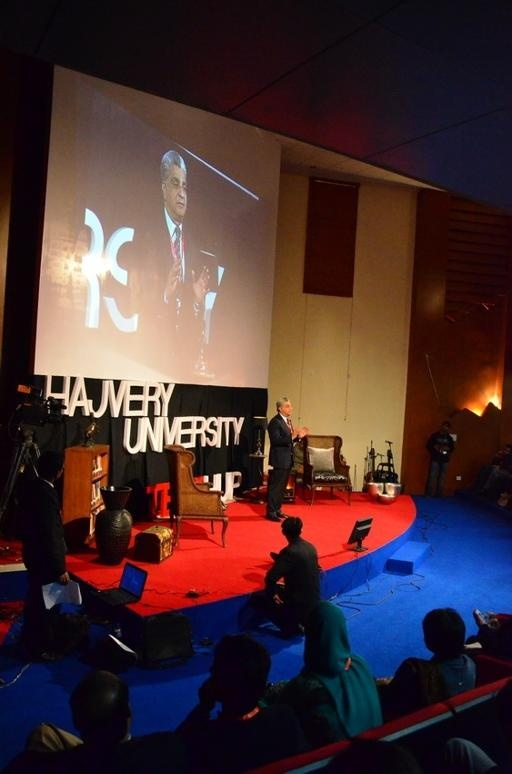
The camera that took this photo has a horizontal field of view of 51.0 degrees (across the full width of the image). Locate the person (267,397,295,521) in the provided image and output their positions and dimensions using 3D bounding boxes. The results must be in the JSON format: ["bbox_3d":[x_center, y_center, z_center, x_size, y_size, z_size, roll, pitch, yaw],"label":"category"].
[{"bbox_3d":[0.317,1.016,7.389,0.453,1.655,0.516,-2,-2,0],"label":"person"}]

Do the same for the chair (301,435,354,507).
[{"bbox_3d":[1.198,1.373,9.247,0.718,1.202,0.915,0,-13,5],"label":"chair"}]

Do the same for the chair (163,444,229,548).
[{"bbox_3d":[-0.718,1.256,6.402,0.761,1.161,0.771,3,1,2],"label":"chair"}]

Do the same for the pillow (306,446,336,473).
[{"bbox_3d":[1.180,1.274,9.275,0.583,0.434,0.293,-2,-2,-35],"label":"pillow"}]

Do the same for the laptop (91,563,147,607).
[{"bbox_3d":[-1.088,1.540,4.214,0.187,0.298,0.309,15,-5,-35],"label":"laptop"}]

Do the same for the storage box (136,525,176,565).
[{"bbox_3d":[-1.081,1.589,5.515,0.280,0.319,0.400,1,2,17],"label":"storage box"}]
